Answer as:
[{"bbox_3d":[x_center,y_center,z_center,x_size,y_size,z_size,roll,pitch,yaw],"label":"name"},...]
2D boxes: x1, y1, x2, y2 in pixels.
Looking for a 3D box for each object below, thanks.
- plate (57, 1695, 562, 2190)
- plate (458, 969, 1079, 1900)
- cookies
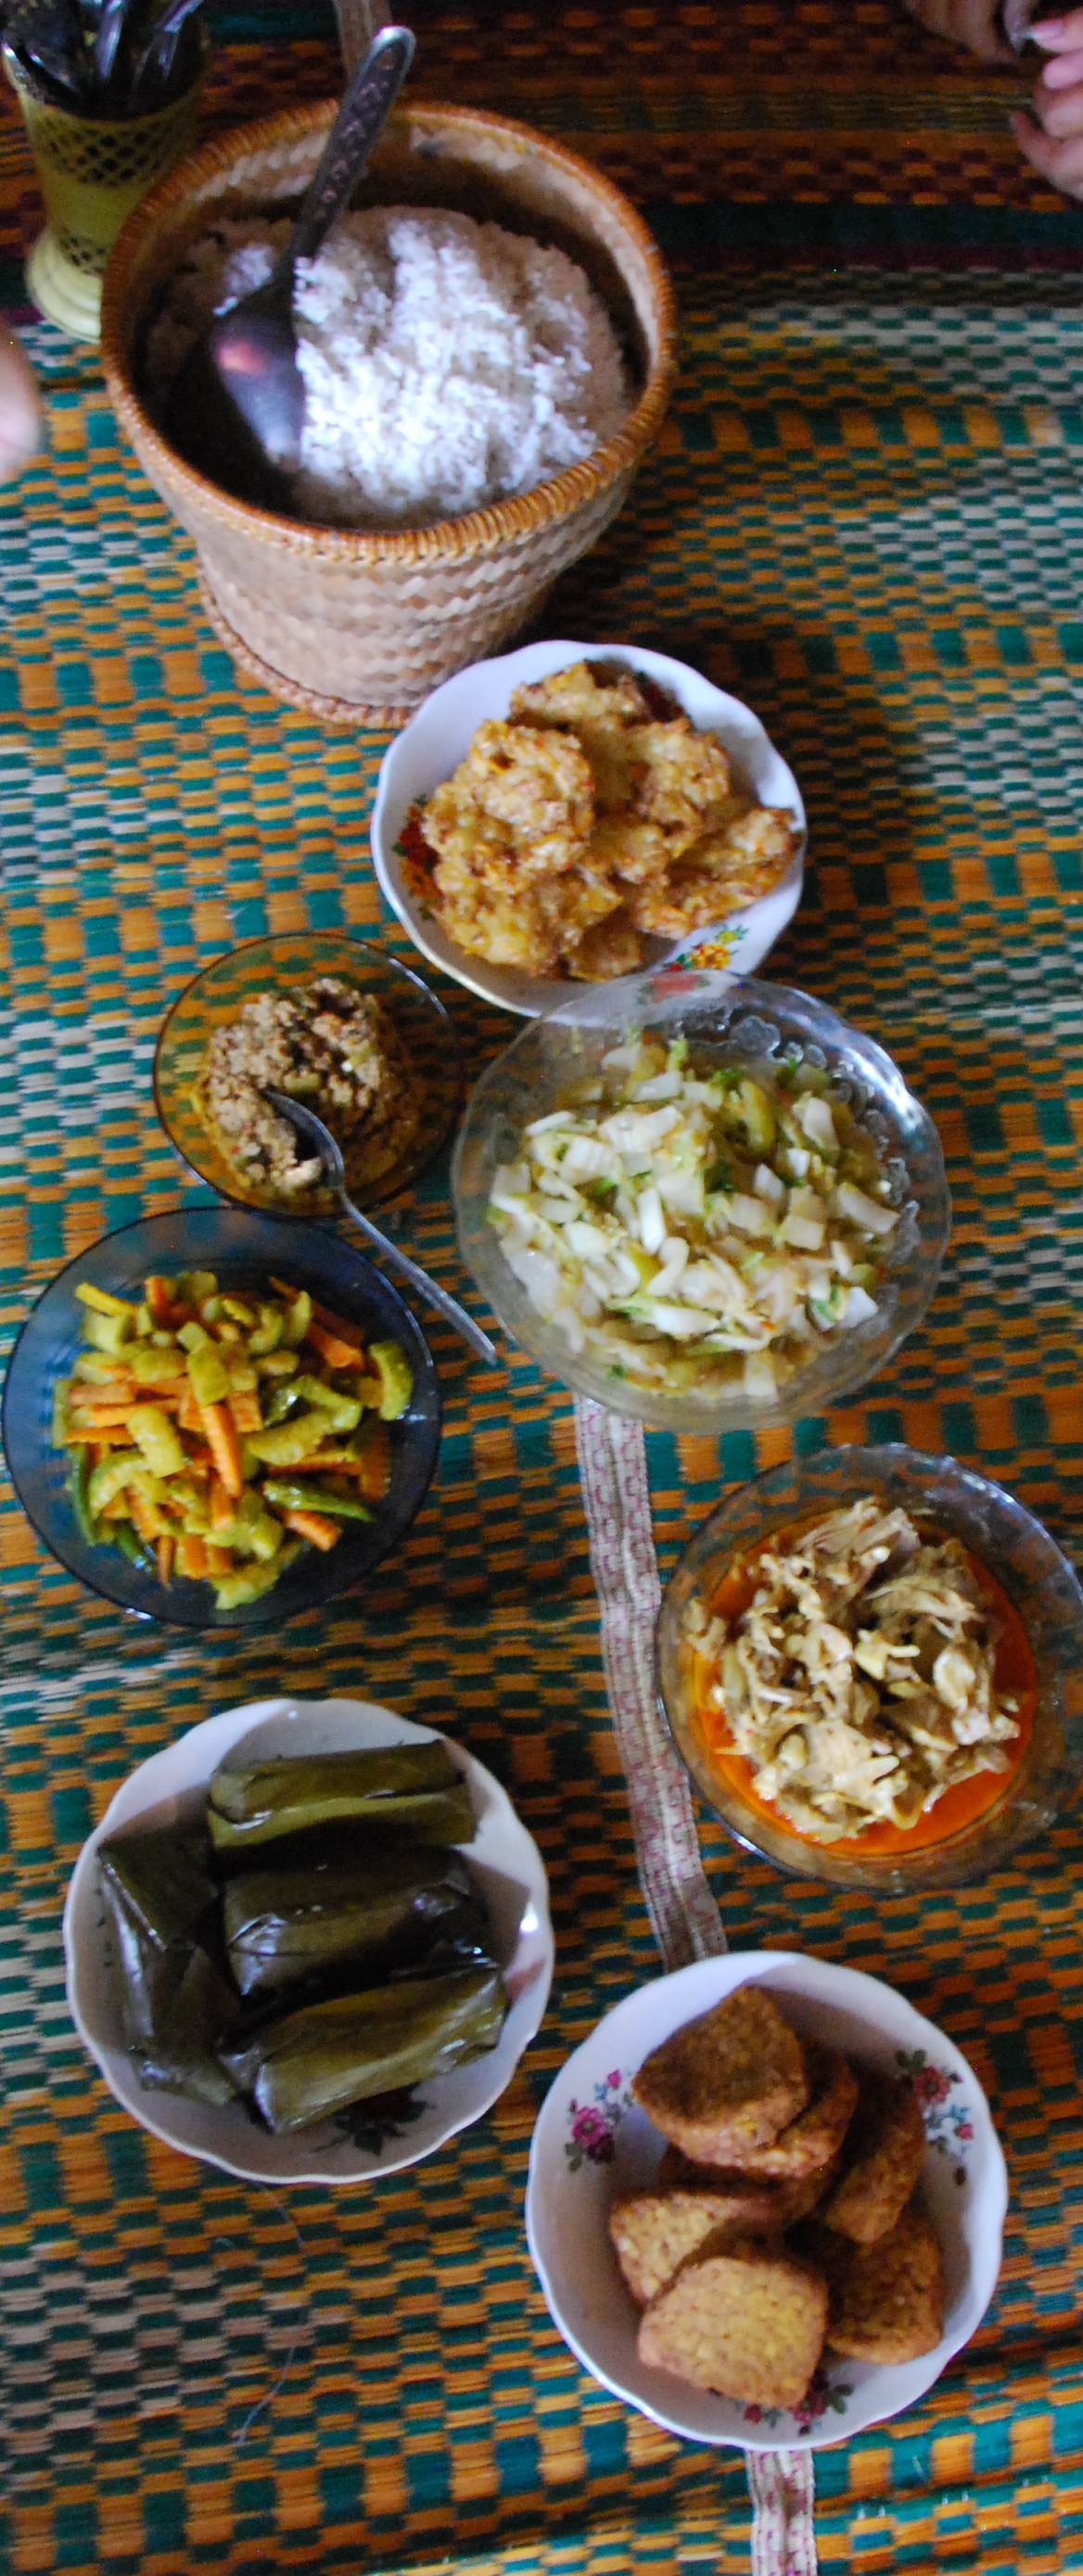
[{"bbox_3d":[-0.158,0.347,1.180,0.242,0.291,0.095,-20,-2,-11],"label":"plate"},{"bbox_3d":[0.122,0.106,1.180,0.314,0.571,0.287,-20,-5,4],"label":"plate"},{"bbox_3d":[0.131,0.487,1.076,0.182,0.205,0.181,4,33,16],"label":"cookies"}]
